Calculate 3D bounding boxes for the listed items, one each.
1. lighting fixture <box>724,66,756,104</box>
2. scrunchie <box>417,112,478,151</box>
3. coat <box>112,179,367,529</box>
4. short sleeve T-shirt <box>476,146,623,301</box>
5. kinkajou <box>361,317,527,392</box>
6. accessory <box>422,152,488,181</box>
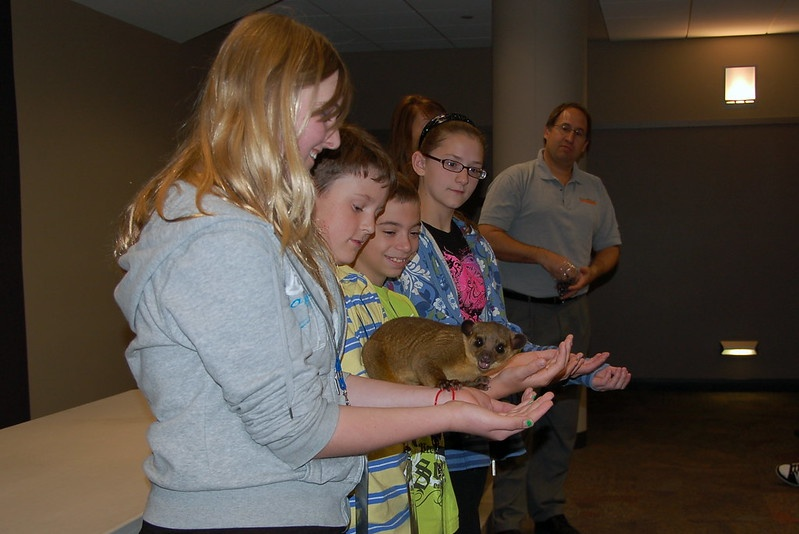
[{"bbox_3d":[4.497,-2.416,8.442,0.368,0.499,0.133,0,8,17],"label":"lighting fixture"},{"bbox_3d":[0.245,-0.953,4.298,0.354,0.323,0.083,-5,1,-15],"label":"scrunchie"},{"bbox_3d":[-0.638,0.382,3.000,1.263,1.391,1.073,2,2,0],"label":"coat"},{"bbox_3d":[1.389,-0.417,5.889,1.459,1.248,0.669,1,5,-20],"label":"short sleeve T-shirt"},{"bbox_3d":[0.203,0.482,3.428,0.831,0.400,0.392,4,-13,30],"label":"kinkajou"},{"bbox_3d":[0.336,-0.650,4.067,0.225,0.052,0.221,14,6,-41],"label":"accessory"}]
